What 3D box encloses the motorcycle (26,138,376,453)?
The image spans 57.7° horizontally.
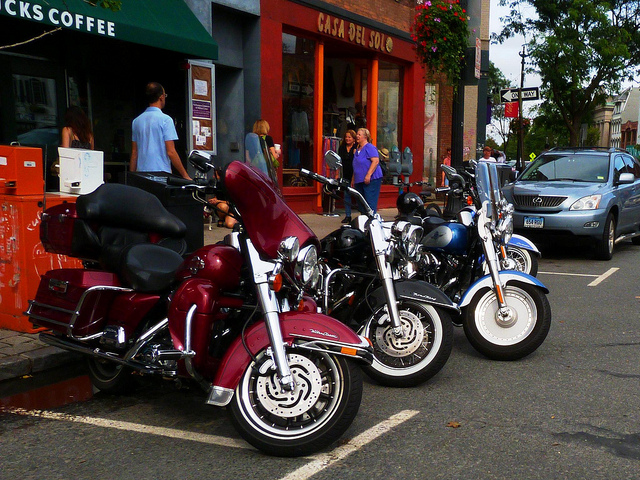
[{"bbox_3d":[-1.077,0.308,4.265,2.734,1.881,0.991,10,6,30],"label":"motorcycle"}]

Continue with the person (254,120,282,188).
[{"bbox_3d":[-0.471,-0.778,5.783,0.208,0.758,0.202,-16,17,-41],"label":"person"}]

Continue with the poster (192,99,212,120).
[{"bbox_3d":[-2.411,-2.656,11.820,0.042,0.391,0.537,5,10,29],"label":"poster"}]

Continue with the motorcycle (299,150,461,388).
[{"bbox_3d":[0.355,0.428,5.512,2.019,1.548,1.198,8,5,43],"label":"motorcycle"}]
